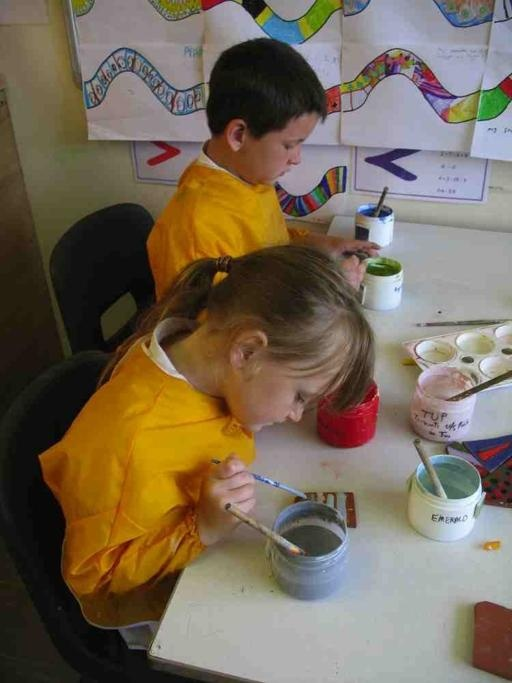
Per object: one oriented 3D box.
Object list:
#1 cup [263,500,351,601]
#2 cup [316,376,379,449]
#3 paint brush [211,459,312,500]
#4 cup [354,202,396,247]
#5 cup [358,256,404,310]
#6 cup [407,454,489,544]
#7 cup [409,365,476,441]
[{"bbox_3d":[0.064,0.242,0.691,0.097,0.069,0.094,-7,37,5],"label":"cup"},{"bbox_3d":[0.138,0.115,0.917,0.087,0.079,0.092,-4,32,3],"label":"cup"},{"bbox_3d":[0.007,0.186,0.794,0.132,0.010,0.012,24,2,-22],"label":"paint brush"},{"bbox_3d":[0.290,-0.285,1.526,0.119,0.109,0.111,-1,35,1],"label":"cup"},{"bbox_3d":[0.262,-0.118,1.292,0.138,0.089,0.087,10,40,18],"label":"cup"},{"bbox_3d":[0.222,0.197,0.753,0.097,0.092,0.097,-3,52,4],"label":"cup"},{"bbox_3d":[0.266,0.101,0.939,0.108,0.103,0.109,-2,41,2],"label":"cup"}]
